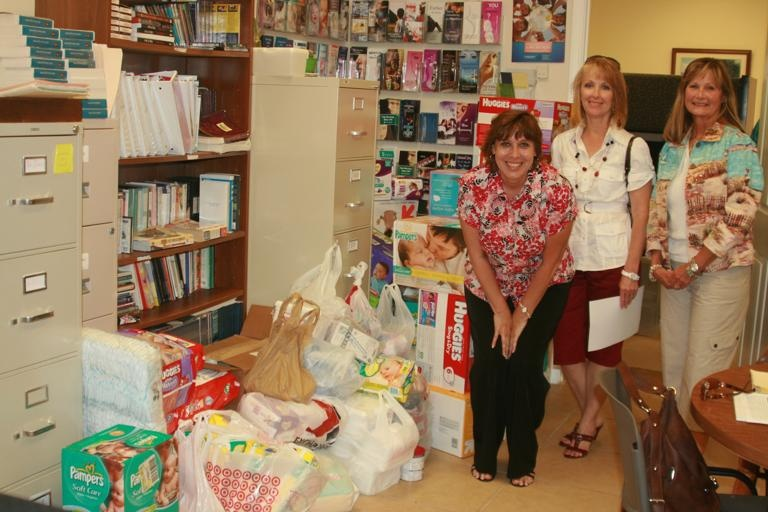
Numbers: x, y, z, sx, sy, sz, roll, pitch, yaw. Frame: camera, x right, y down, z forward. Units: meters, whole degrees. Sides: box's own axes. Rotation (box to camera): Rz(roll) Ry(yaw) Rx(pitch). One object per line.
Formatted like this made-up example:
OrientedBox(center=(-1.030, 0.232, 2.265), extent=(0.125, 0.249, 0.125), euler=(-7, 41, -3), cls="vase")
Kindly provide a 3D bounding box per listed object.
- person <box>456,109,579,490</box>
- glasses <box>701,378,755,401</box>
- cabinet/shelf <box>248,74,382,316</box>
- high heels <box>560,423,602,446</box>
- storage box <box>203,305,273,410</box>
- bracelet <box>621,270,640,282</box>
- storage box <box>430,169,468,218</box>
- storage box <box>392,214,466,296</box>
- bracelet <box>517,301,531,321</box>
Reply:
OrientedBox(center=(0.671, 0.265, 3.134), extent=(0.601, 2.006, 0.380), euler=(6, 18, 19), cls="person")
OrientedBox(center=(1.367, 0.539, 2.353), extent=(0.144, 0.041, 0.092), euler=(3, 8, 24), cls="glasses")
OrientedBox(center=(-0.532, -0.445, 4.153), extent=(0.911, 1.567, 0.543), euler=(1, 18, 4), cls="cabinet/shelf")
OrientedBox(center=(1.215, 1.129, 3.671), extent=(0.126, 0.079, 0.302), euler=(-19, 4, 37), cls="high heels")
OrientedBox(center=(-0.904, 0.651, 3.851), extent=(0.372, 0.346, 0.456), euler=(11, 14, 33), cls="storage box")
OrientedBox(center=(1.403, 0.103, 3.339), extent=(0.062, 0.025, 0.067), euler=(24, 1, -33), cls="bracelet")
OrientedBox(center=(0.479, -0.420, 4.020), extent=(0.320, 0.316, 0.192), euler=(7, 8, 39), cls="storage box")
OrientedBox(center=(0.257, 0.115, 4.109), extent=(0.664, 0.465, 0.707), euler=(2, -18, 0), cls="storage box")
OrientedBox(center=(0.709, 0.290, 3.056), extent=(0.039, 0.070, 0.082), euler=(-32, 38, 7), cls="bracelet")
